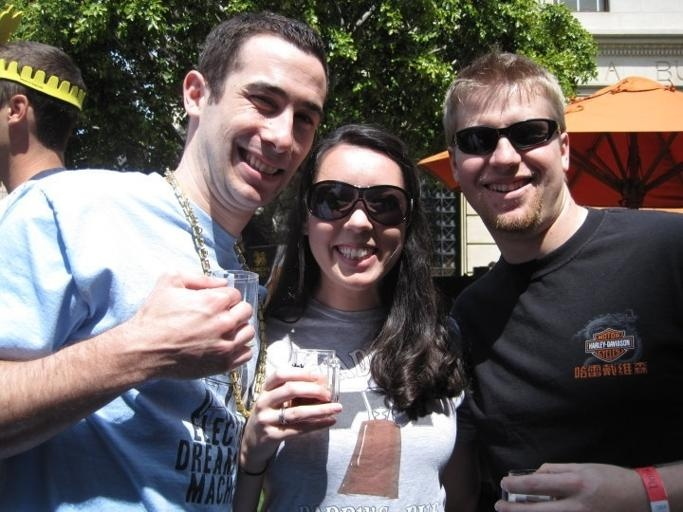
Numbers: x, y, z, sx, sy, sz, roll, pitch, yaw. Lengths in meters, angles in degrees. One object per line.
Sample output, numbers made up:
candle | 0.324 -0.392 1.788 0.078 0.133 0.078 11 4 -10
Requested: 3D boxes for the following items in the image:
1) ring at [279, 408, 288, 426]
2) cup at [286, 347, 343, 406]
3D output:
ring | -0.294 0.795 3.398 0.025 0.070 0.052 2 -9 4
cup | -0.132 0.556 3.498 0.269 0.277 0.475 0 11 1
